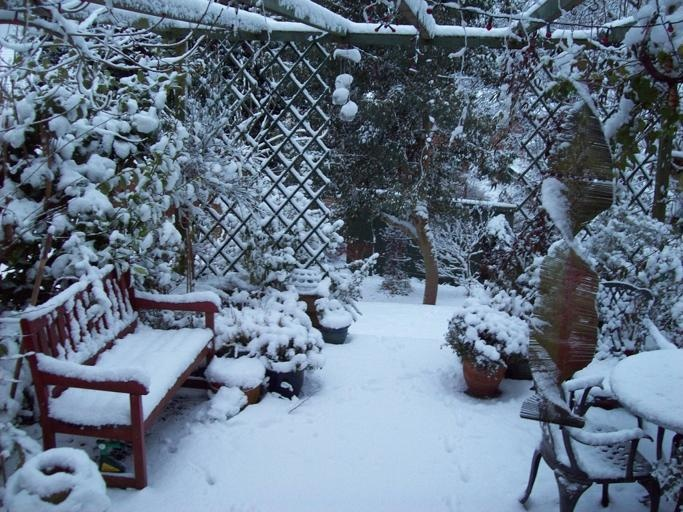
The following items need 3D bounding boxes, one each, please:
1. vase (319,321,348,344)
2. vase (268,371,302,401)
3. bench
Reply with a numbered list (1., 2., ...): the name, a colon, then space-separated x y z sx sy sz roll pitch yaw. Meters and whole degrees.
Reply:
1. vase: -0.055 0.594 4.222 0.242 0.183 0.208 3 13 -12
2. vase: -0.350 0.785 3.303 0.178 0.148 0.163 5 -5 -32
3. bench: -1.118 0.562 2.718 0.609 0.915 0.930 6 13 6
